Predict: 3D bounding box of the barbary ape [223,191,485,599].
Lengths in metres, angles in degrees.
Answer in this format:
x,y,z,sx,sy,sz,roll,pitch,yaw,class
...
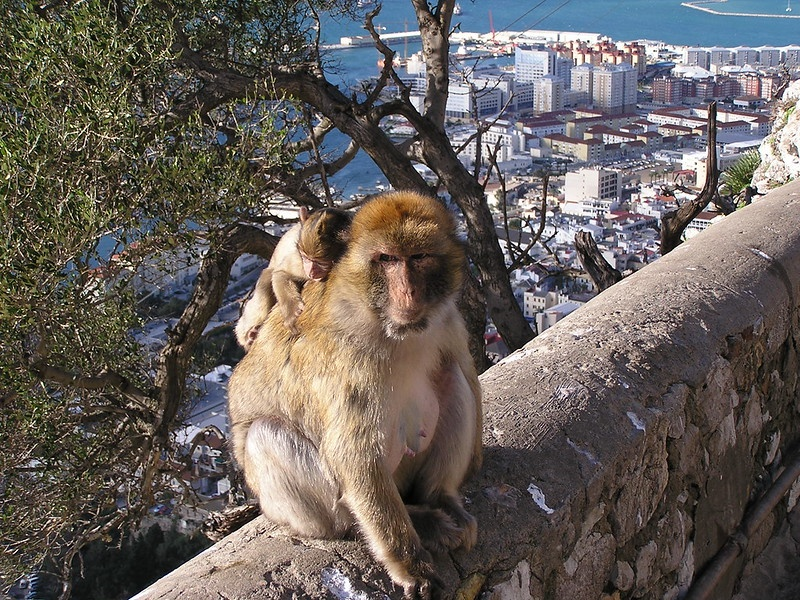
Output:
x,y,z,sx,sy,sz,roll,pitch,yaw,class
-0.119,0.273,2.310,0.781,0.855,0.725,-10,33,-9,barbary ape

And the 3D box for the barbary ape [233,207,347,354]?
x,y,z,sx,sy,sz,roll,pitch,yaw,class
-0.339,-0.105,2.785,0.303,0.392,0.584,-5,11,-28,barbary ape
